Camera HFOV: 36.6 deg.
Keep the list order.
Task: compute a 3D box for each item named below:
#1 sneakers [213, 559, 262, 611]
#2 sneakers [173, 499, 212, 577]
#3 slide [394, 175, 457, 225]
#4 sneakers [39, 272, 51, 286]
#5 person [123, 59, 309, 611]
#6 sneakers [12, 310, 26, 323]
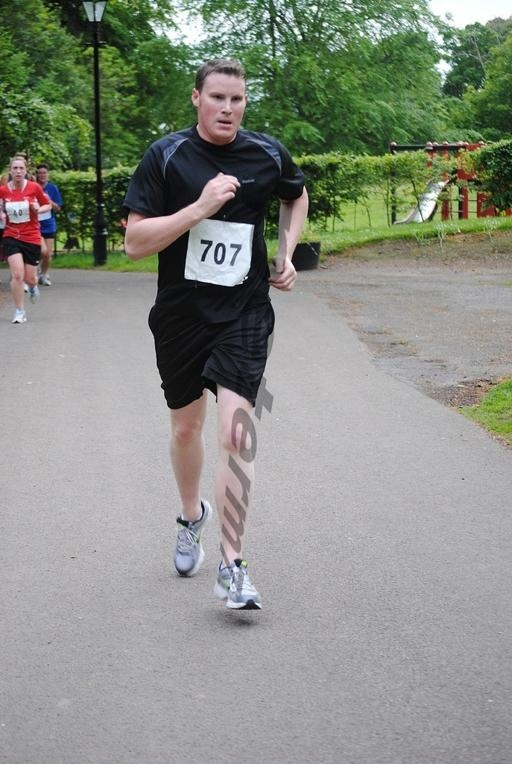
[{"bbox_3d":[-0.068,0.727,2.772,0.090,0.168,0.177,-4,8,-29],"label":"sneakers"},{"bbox_3d":[-0.268,0.655,3.285,0.123,0.302,0.147,3,-5,16],"label":"sneakers"},{"bbox_3d":[6.087,-6.393,27.414,1.995,1.686,3.245,-1,7,-4],"label":"slide"},{"bbox_3d":[-4.723,-2.270,17.355,0.203,0.227,0.573,-4,2,-28],"label":"sneakers"},{"bbox_3d":[-0.157,-0.163,2.940,0.494,2.012,0.632,2,7,14],"label":"person"},{"bbox_3d":[-3.507,-0.958,11.476,0.133,0.132,0.318,-2,4,-4],"label":"sneakers"}]
